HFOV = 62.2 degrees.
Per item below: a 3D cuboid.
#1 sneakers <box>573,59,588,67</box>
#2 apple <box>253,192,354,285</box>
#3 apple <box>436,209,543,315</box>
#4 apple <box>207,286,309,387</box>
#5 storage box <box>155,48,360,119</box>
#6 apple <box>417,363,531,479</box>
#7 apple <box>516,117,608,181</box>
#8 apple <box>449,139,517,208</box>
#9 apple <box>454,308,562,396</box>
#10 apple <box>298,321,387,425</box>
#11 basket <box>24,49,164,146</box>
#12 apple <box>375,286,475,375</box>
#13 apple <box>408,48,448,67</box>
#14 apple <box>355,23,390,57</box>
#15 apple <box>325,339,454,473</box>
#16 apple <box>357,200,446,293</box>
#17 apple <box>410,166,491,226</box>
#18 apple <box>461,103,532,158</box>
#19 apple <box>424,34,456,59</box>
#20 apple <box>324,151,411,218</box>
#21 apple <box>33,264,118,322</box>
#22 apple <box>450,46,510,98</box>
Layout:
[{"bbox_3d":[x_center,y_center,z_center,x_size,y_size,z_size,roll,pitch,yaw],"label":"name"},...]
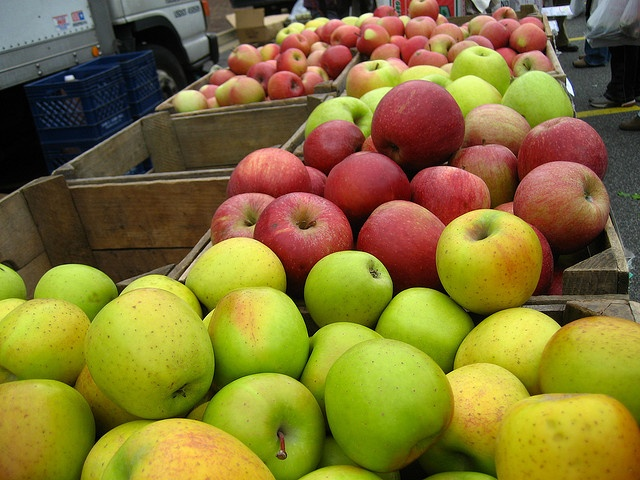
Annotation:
[{"bbox_3d":[4.030,-2.751,8.242,0.198,0.095,0.114,8,39,12],"label":"sneakers"},{"bbox_3d":[-0.051,-0.043,1.989,0.298,0.336,0.341,-1,31,-8],"label":"apple"},{"bbox_3d":[0.550,0.016,1.956,0.304,0.386,0.326,-31,-20,3],"label":"apple"},{"bbox_3d":[-0.214,0.317,1.744,0.251,0.363,0.282,0,-14,-15],"label":"apple"},{"bbox_3d":[-0.487,-1.224,4.137,0.941,0.370,1.090,-4,34,10],"label":"storage box"},{"bbox_3d":[0.413,0.464,1.571,0.313,0.305,0.275,-19,4,-34],"label":"apple"},{"bbox_3d":[1.014,-0.418,2.271,0.259,0.305,0.291,-8,17,-7],"label":"apple"},{"bbox_3d":[0.738,-0.304,2.456,0.237,0.295,0.264,-10,-6,4],"label":"apple"},{"bbox_3d":[0.576,0.297,1.709,0.240,0.277,0.296,-15,-1,-23],"label":"apple"},{"bbox_3d":[0.053,0.413,1.696,0.219,0.258,0.228,4,-27,-46],"label":"apple"},{"bbox_3d":[-1.759,-1.166,4.380,0.528,0.529,1.153,-3,31,18],"label":"basket"},{"bbox_3d":[0.348,0.244,1.816,0.244,0.287,0.249,-29,17,-38],"label":"apple"},{"bbox_3d":[0.776,-1.307,3.828,0.275,0.103,0.252,6,36,14],"label":"apple"},{"bbox_3d":[0.401,-1.588,4.205,0.262,0.241,0.263,6,69,28],"label":"apple"},{"bbox_3d":[0.185,0.413,1.504,0.316,0.336,0.336,19,37,5],"label":"apple"},{"bbox_3d":[0.272,0.024,2.055,0.277,0.376,0.304,-25,-6,-2],"label":"apple"},{"bbox_3d":[0.533,-0.146,2.168,0.229,0.286,0.251,1,0,-8],"label":"apple"},{"bbox_3d":[0.832,-0.505,2.594,0.244,0.286,0.296,18,-5,-33],"label":"apple"},{"bbox_3d":[0.911,-1.487,4.020,0.184,0.216,0.194,7,12,5],"label":"apple"},{"bbox_3d":[0.171,-0.209,2.230,0.288,0.303,0.299,0,8,20],"label":"apple"},{"bbox_3d":[-0.931,0.184,2.057,0.264,0.276,0.246,11,-4,-20],"label":"apple"},{"bbox_3d":[1.008,-1.012,3.334,0.335,0.391,0.338,7,21,44],"label":"apple"}]
